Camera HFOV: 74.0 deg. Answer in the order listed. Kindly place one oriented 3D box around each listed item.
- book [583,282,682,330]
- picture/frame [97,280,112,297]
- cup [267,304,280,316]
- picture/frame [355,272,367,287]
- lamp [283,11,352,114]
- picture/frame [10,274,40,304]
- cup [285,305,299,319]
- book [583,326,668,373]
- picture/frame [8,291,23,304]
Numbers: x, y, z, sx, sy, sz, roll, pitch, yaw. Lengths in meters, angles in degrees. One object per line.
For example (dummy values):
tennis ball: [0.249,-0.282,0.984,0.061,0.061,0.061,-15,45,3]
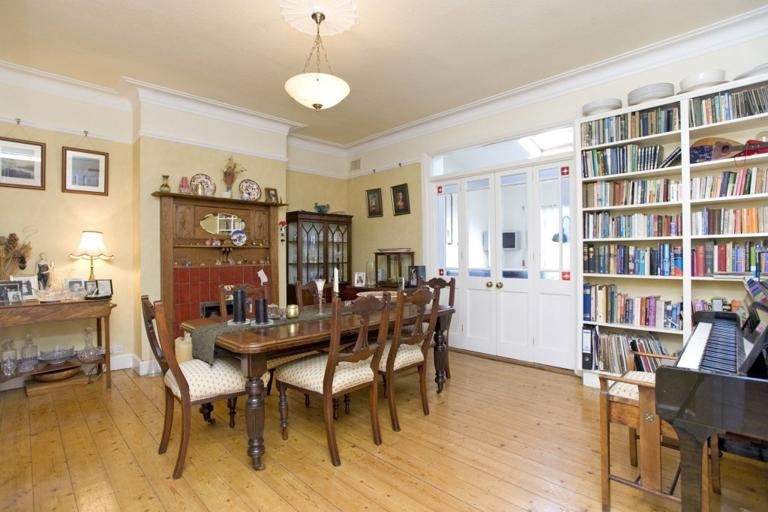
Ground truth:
book: [2.774,0.603,5.722,1.035,0.503,0.431,-2,-9,35]
picture/frame: [-3.432,0.397,6.269,0.170,0.203,0.417,-3,1,-30]
cup: [-1.148,0.564,5.305,0.116,0.113,0.115,0,0,0]
picture/frame: [-0.357,0.376,7.990,0.213,0.239,0.017,-2,-5,27]
lamp: [-0.701,-1.927,5.348,0.608,0.618,1.293,-2,1,-5]
picture/frame: [-4.160,0.396,5.883,0.043,0.408,0.320,-3,0,36]
cup: [-0.921,0.570,5.176,0.129,0.123,0.127,0,-7,0]
book: [2.639,1.061,5.708,0.713,0.239,0.536,1,0,45]
picture/frame: [-4.139,0.475,5.706,0.018,0.160,0.144,-21,-10,32]
